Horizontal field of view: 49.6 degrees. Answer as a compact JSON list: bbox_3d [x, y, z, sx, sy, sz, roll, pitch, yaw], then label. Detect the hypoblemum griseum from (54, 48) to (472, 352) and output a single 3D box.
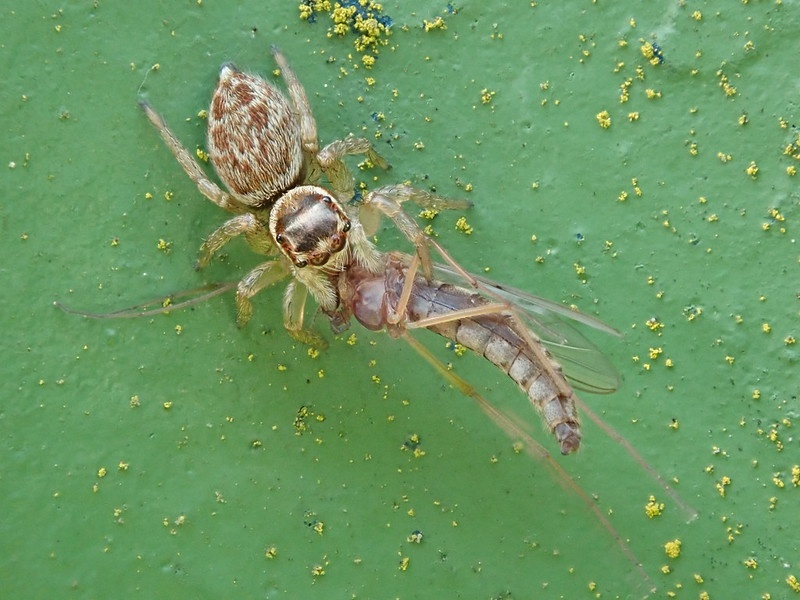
[{"bbox_3d":[-0.748,-0.696,6.166,1.505,0.596,2.024,-41,79,1],"label":"hypoblemum griseum"}]
